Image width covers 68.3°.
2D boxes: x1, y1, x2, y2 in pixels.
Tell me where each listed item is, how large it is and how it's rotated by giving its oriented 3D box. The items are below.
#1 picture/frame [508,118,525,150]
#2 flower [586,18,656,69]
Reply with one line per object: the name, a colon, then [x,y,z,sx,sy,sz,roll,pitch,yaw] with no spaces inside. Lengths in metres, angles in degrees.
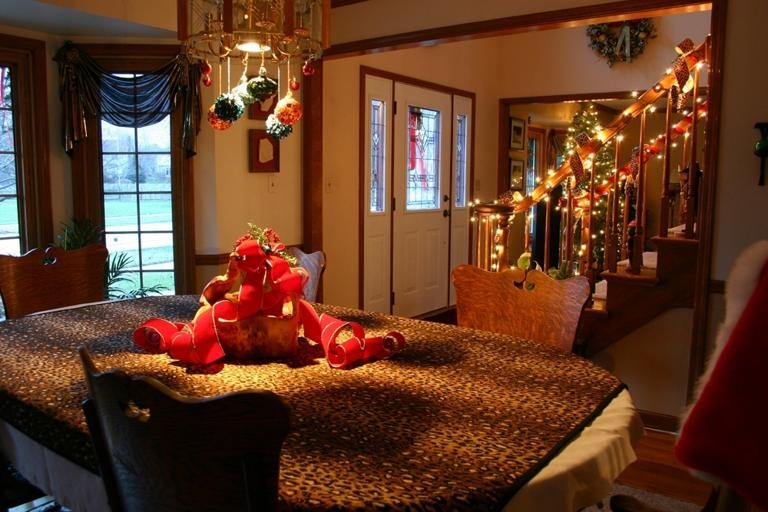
picture/frame: [1.755,-1.595,7.459,0.109,0.407,0.580,5,14,24]
flower: [2.524,-2.272,6.105,0.709,0.461,0.121,9,15,36]
